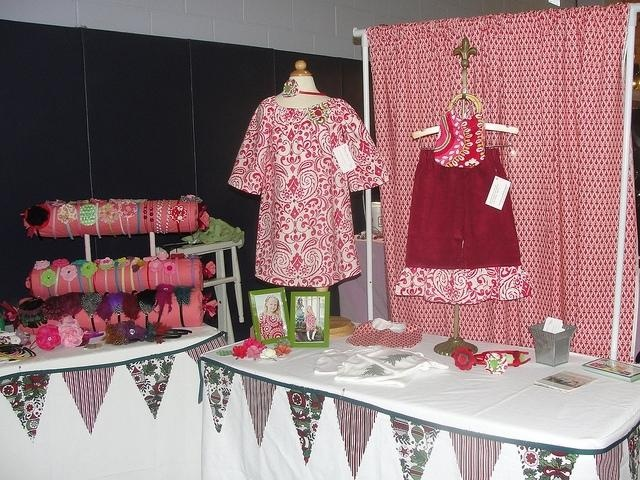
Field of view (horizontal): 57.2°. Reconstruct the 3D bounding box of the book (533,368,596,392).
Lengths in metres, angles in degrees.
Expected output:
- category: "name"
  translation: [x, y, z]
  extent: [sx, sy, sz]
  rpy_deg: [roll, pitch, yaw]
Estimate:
- category: "book"
  translation: [1.018, 0.582, 2.443]
  extent: [0.267, 0.030, 0.151]
  rpy_deg: [-12, 10, -38]
